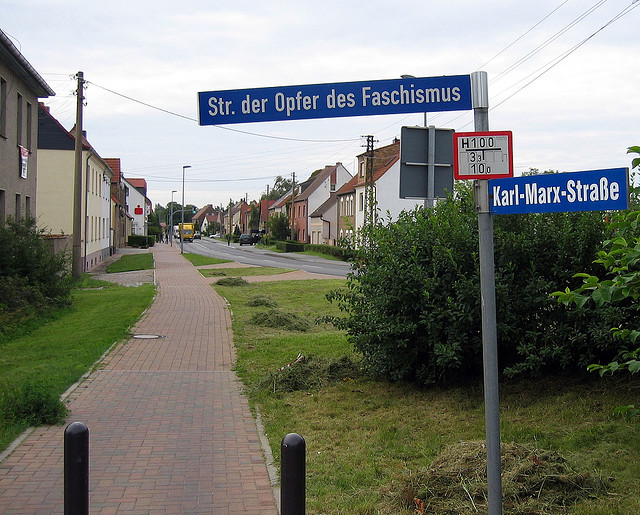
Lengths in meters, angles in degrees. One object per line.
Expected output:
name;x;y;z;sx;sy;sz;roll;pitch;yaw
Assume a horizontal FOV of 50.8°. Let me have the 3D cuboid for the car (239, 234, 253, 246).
car;-9.712;-2.298;88.632;1.190;1.113;2.811;-1;6;-2
